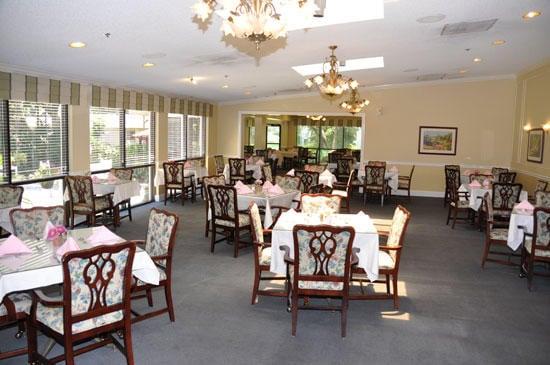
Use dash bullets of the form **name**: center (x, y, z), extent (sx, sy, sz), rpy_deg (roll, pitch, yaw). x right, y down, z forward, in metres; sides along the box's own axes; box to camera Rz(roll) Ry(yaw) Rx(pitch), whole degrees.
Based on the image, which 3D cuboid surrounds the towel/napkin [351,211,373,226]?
- **towel/napkin**: center (1.454, 0.598, 6.236), extent (0.313, 0.076, 0.318), rpy_deg (5, 16, 18)

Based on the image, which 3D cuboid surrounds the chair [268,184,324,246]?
- **chair**: center (0.380, 0.482, 5.898), extent (0.750, 1.213, 0.871), rpy_deg (3, 1, 24)

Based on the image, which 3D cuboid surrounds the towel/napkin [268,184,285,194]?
- **towel/napkin**: center (0.039, 0.138, 7.493), extent (0.211, 0.076, 0.216), rpy_deg (-1, 37, -17)

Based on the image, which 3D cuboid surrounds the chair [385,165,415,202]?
- **chair**: center (4.190, -0.061, 12.214), extent (1.090, 1.653, 1.078), rpy_deg (2, 3, 16)

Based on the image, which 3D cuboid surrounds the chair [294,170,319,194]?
- **chair**: center (0.786, 0.055, 8.968), extent (0.498, 0.836, 0.572), rpy_deg (7, 17, 20)

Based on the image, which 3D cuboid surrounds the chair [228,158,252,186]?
- **chair**: center (-1.192, -0.356, 11.958), extent (0.498, 0.786, 0.590), rpy_deg (-2, 13, -12)

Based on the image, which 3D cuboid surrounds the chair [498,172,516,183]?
- **chair**: center (6.162, -0.131, 9.979), extent (0.259, 0.424, 0.301), rpy_deg (4, 15, 20)

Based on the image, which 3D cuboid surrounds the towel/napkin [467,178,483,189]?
- **towel/napkin**: center (4.777, 0.044, 8.962), extent (0.315, 0.149, 0.323), rpy_deg (3, 11, 28)

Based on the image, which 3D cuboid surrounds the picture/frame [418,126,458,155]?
- **picture/frame**: center (5.394, -1.382, 12.307), extent (0.907, 0.804, 0.066), rpy_deg (2, 2, 12)

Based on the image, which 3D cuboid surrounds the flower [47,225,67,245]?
- **flower**: center (-2.704, 0.643, 4.673), extent (0.221, 0.223, 0.226), rpy_deg (4, -2, 5)

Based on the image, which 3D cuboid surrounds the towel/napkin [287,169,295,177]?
- **towel/napkin**: center (0.425, -0.243, 9.681), extent (0.115, 0.151, 0.386), rpy_deg (-1, -7, 22)

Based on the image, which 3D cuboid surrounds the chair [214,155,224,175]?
- **chair**: center (-1.883, -0.578, 12.793), extent (0.292, 0.643, 0.780), rpy_deg (-2, 13, -10)

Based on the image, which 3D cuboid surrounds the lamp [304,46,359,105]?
- **lamp**: center (1.102, -1.857, 7.206), extent (1.204, 1.202, 1.225), rpy_deg (-1, 7, -13)

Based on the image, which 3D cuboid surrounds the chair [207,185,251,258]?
- **chair**: center (-0.892, 0.648, 7.124), extent (0.766, 1.284, 1.129), rpy_deg (-2, 13, -11)

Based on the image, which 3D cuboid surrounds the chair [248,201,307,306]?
- **chair**: center (0.006, 0.928, 6.018), extent (1.125, 1.907, 1.255), rpy_deg (0, 7, 4)

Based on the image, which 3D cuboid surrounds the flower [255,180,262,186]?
- **flower**: center (-0.383, 0.015, 8.888), extent (0.160, 0.186, 0.162), rpy_deg (-1, -1, -10)

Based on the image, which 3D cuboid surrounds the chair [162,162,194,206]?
- **chair**: center (-2.740, -0.012, 10.734), extent (0.870, 1.234, 1.327), rpy_deg (-2, 13, -13)

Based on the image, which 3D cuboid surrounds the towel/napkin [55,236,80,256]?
- **towel/napkin**: center (-2.361, 0.729, 4.256), extent (0.177, 0.197, 0.176), rpy_deg (-9, -1, 13)

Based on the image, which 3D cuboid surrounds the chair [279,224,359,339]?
- **chair**: center (0.574, 1.158, 4.772), extent (0.930, 1.416, 0.579), rpy_deg (1, 13, 3)

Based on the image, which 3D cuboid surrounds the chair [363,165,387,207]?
- **chair**: center (3.032, 0.046, 11.345), extent (0.657, 1.189, 1.277), rpy_deg (4, 13, 15)

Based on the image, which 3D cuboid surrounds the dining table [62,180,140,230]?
- **dining table**: center (-3.789, 0.272, 8.082), extent (0.820, 1.003, 1.338), rpy_deg (3, 12, 9)

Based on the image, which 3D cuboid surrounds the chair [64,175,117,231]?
- **chair**: center (-3.861, 0.444, 7.678), extent (0.758, 1.233, 0.895), rpy_deg (1, 13, 3)

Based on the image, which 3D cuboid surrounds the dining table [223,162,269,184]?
- **dining table**: center (-0.872, -0.413, 12.576), extent (0.834, 0.427, 0.851), rpy_deg (2, 8, 19)
